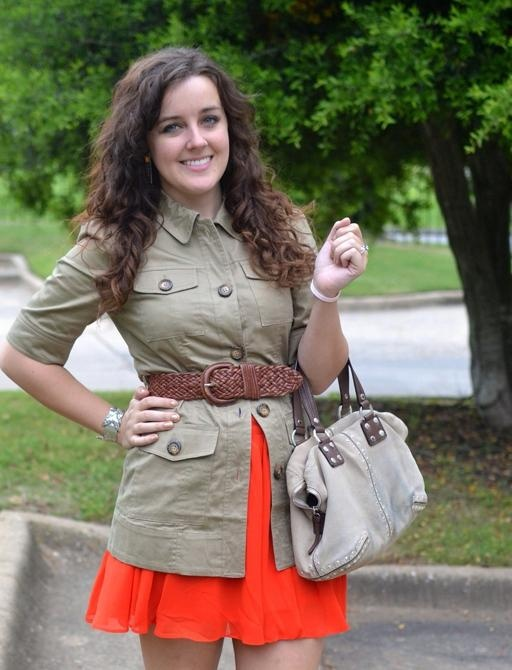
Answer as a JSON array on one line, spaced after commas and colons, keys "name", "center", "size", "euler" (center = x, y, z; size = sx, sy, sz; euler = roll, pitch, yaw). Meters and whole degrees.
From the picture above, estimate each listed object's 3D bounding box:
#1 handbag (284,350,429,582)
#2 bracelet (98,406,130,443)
[{"name": "handbag", "center": [0.234, 0.358, 2.064], "size": [0.327, 0.522, 0.411], "euler": [6, 13, 39]}, {"name": "bracelet", "center": [-0.367, 0.241, 2.154], "size": [0.070, 0.089, 0.087], "euler": [3, 47, 2]}]
